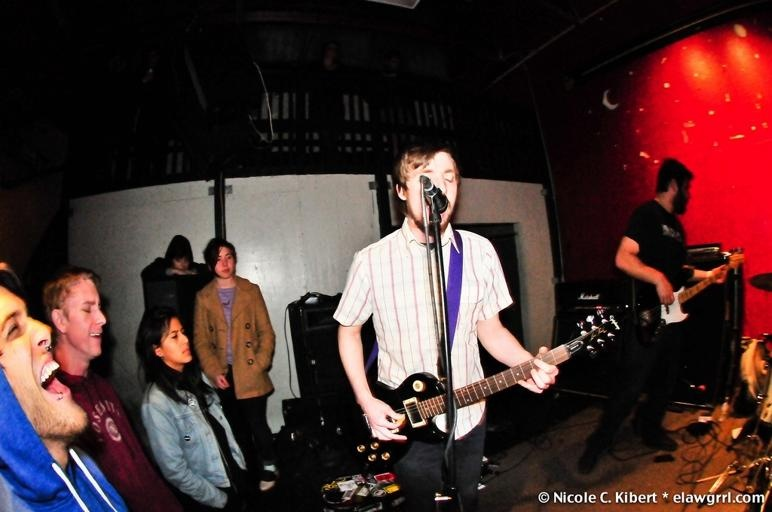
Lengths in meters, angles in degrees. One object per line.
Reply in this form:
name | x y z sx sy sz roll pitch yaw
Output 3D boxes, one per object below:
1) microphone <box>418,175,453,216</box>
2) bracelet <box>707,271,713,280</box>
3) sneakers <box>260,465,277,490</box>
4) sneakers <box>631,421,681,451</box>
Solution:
microphone | 0.202 -0.246 2.159 0.099 0.148 0.140 -4 -1 6
bracelet | 1.705 0.105 2.712 0.032 0.040 0.007 -4 -1 7
sneakers | -0.617 1.170 2.739 0.069 0.138 0.084 4 -11 -5
sneakers | 1.461 0.987 2.804 0.246 0.084 0.174 7 -22 31
